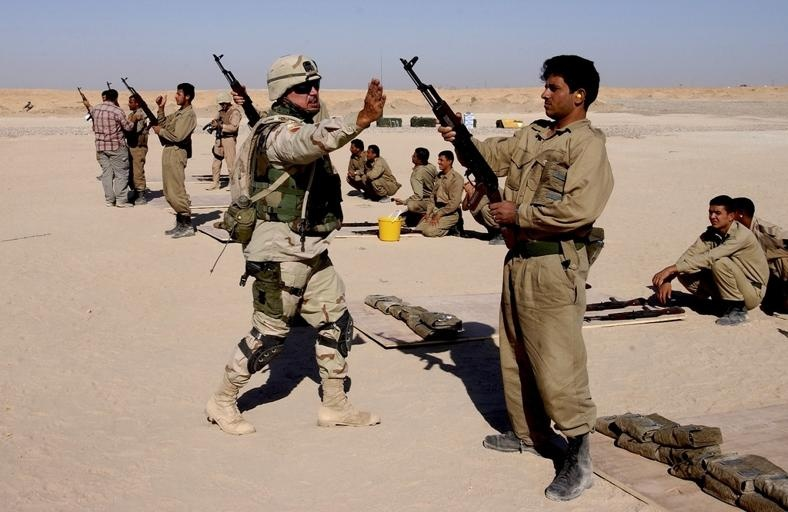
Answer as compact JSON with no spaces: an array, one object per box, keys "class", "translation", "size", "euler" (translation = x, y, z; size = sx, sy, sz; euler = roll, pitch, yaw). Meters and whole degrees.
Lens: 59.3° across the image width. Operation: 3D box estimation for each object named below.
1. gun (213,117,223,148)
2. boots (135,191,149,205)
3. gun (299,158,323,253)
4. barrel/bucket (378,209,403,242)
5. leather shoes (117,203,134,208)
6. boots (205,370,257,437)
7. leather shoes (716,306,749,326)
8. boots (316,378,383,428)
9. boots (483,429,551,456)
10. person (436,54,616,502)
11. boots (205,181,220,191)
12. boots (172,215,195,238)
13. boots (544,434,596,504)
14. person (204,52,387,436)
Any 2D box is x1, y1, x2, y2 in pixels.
[{"class":"gun","translation":[-4.458,-3.061,17.363],"size":[0.368,0.900,0.221],"euler":[-1,2,-11]},{"class":"boots","translation":[-5.758,-1.304,15.526],"size":[0.380,0.353,0.340],"euler":[-4,10,-24]},{"class":"gun","translation":[-0.727,-0.397,5.986],"size":[0.086,1.036,0.226],"euler":[8,-12,-9]},{"class":"barrel/bucket","translation":[-0.190,-0.532,12.826],"size":[0.612,0.546,0.456],"euler":[1,0,-17]},{"class":"leather shoes","translation":[-5.825,-1.089,14.901],"size":[0.325,0.124,0.116],"euler":[5,-3,-43]},{"class":"boots","translation":[-1.453,1.341,6.301],"size":[0.596,0.535,0.269],"euler":[15,1,33]},{"class":"leather shoes","translation":[4.314,0.755,8.800],"size":[0.294,0.205,0.402],"euler":[14,22,42]},{"class":"boots","translation":[-0.441,1.376,6.482],"size":[0.771,0.504,0.298],"euler":[0,5,-8]},{"class":"boots","translation":[1.057,1.637,6.199],"size":[0.654,0.265,0.210],"euler":[6,4,3]},{"class":"person","translation":[1.215,0.133,5.678],"size":[1.074,3.421,1.339],"euler":[1,17,6]},{"class":"boots","translation":[-4.680,-1.770,17.561],"size":[0.418,0.159,0.176],"euler":[2,2,33]},{"class":"boots","translation":[-3.845,-0.522,12.477],"size":[0.548,0.468,0.261],"euler":[-1,4,-18]},{"class":"boots","translation":[1.434,1.701,5.620],"size":[0.536,0.474,0.224],"euler":[-15,14,-43]},{"class":"person","translation":[-0.894,-0.033,6.065],"size":[1.514,3.318,0.848],"euler":[0,17,5]}]
